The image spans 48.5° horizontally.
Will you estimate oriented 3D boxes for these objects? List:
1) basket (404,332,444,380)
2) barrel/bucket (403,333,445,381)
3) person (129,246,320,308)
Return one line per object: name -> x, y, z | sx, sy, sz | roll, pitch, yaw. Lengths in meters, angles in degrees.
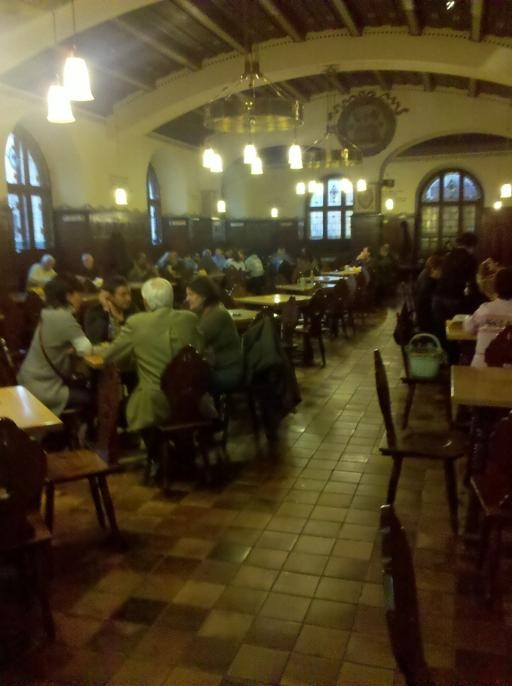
basket -> 1.323, 0.109, 4.454 | 0.270, 0.344, 0.354 | -1, 0, 11
barrel/bucket -> 1.321, 0.091, 4.449 | 0.346, 0.346, 0.363 | -4, 6, 0
person -> -0.546, -1.200, 9.925 | 2.181, 0.523, 1.446 | 10, 17, 38
